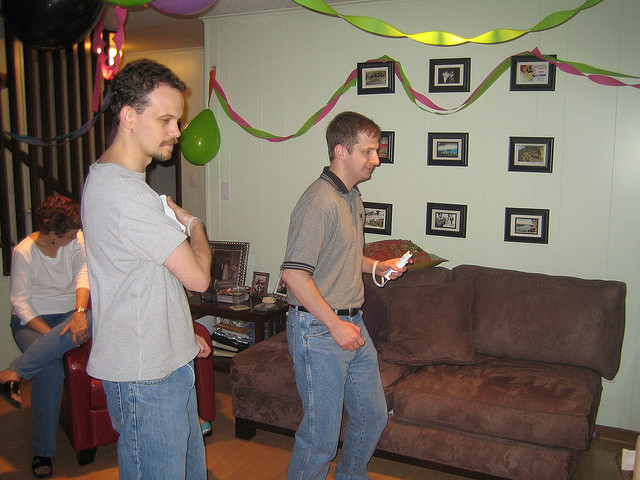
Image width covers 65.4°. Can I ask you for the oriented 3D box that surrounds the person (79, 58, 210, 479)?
[{"bbox_3d":[-0.626,0.162,1.998,0.466,1.754,0.285,0,6,-27],"label":"person"}]

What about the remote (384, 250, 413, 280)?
[{"bbox_3d":[0.443,0.137,2.985,0.054,0.225,0.059,44,-4,1],"label":"remote"}]

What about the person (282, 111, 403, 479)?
[{"bbox_3d":[0.074,0.309,2.461,0.365,1.906,0.492,8,7,43],"label":"person"}]

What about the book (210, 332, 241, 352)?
[{"bbox_3d":[-0.693,0.826,4.023,0.179,0.045,0.128,18,-3,-44],"label":"book"}]

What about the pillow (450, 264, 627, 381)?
[{"bbox_3d":[1.359,0.527,3.313,0.937,0.590,0.263,6,6,23],"label":"pillow"}]

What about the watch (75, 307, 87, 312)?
[{"bbox_3d":[-1.379,0.440,3.126,0.061,0.023,0.062,1,7,-29],"label":"watch"}]
